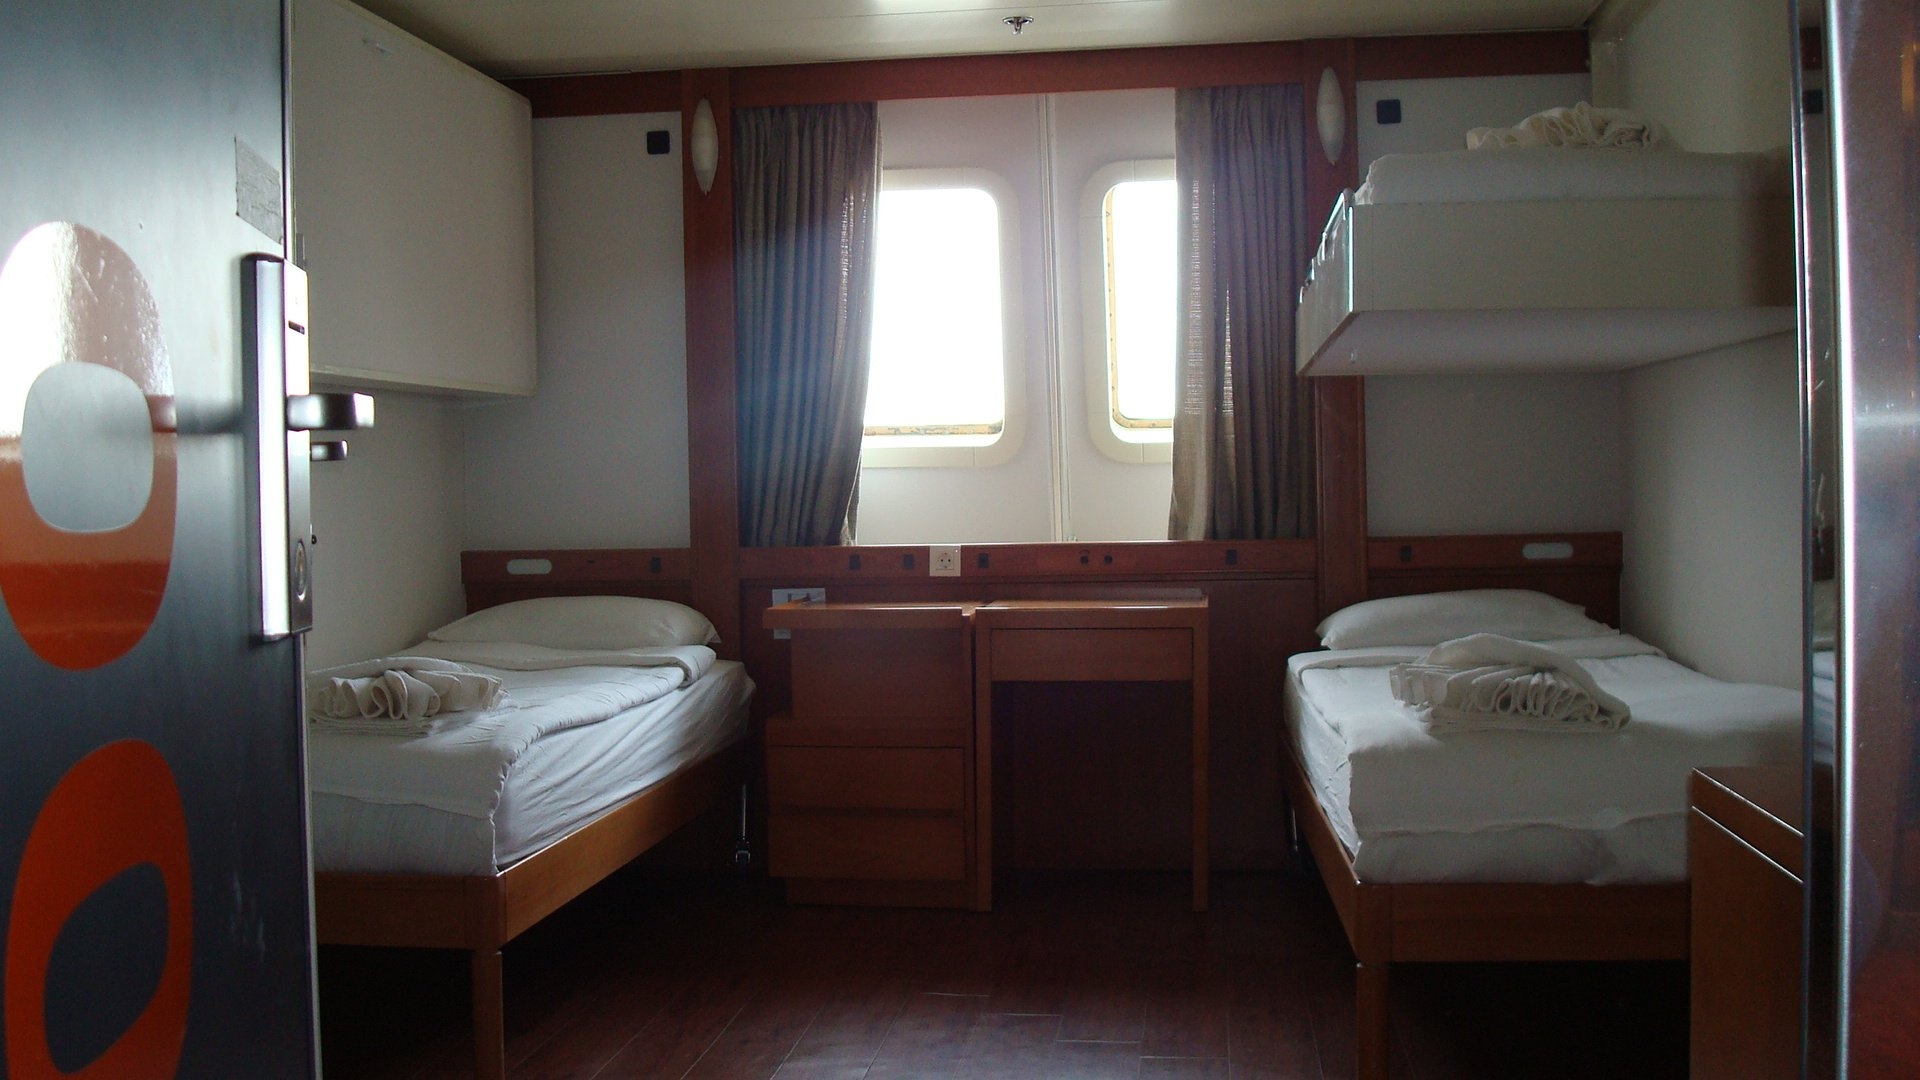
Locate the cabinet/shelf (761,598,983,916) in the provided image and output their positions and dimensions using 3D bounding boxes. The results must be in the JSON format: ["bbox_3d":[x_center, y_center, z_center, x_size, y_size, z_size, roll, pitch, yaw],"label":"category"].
[{"bbox_3d":[-0.262,0.833,5.670,1.116,1.500,1.035,-1,-4,5],"label":"cabinet/shelf"}]

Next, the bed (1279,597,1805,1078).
[{"bbox_3d":[1.688,0.718,4.467,1.072,0.955,1.606,-1,-3,5],"label":"bed"}]

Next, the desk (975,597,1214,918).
[{"bbox_3d":[0.548,0.854,5.458,1.156,1.349,0.720,0,9,5],"label":"desk"}]
